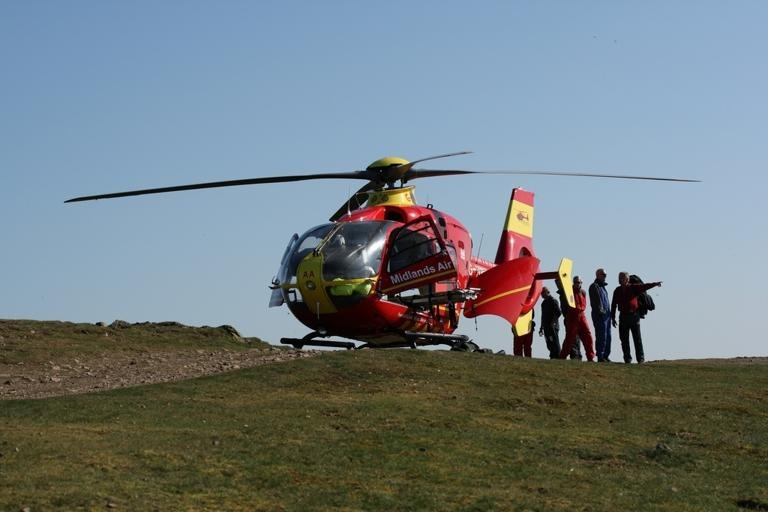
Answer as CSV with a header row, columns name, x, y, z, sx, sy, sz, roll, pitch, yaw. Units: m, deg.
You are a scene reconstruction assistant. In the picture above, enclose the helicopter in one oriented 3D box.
name,x,y,z,sx,sy,sz,roll,pitch,yaw
helicopter,1.237,0.461,22.923,8.741,2.460,7.442,10,-10,-44
